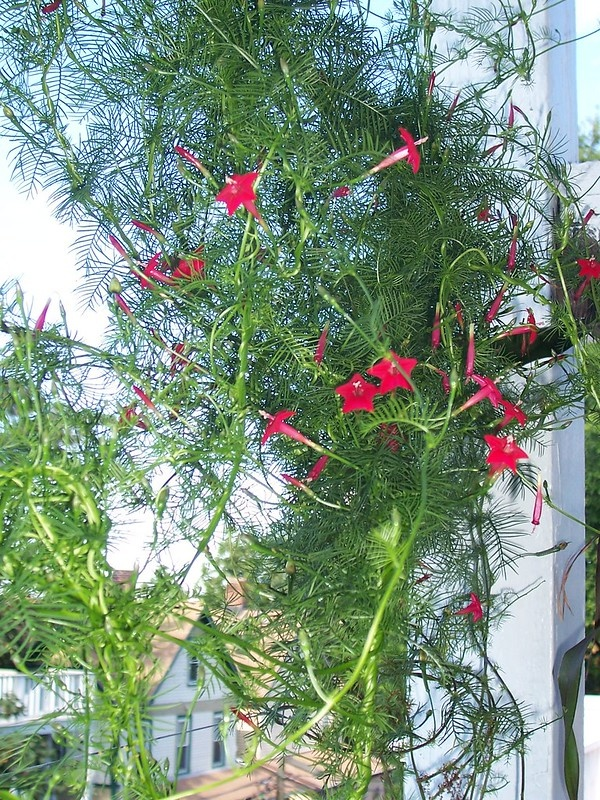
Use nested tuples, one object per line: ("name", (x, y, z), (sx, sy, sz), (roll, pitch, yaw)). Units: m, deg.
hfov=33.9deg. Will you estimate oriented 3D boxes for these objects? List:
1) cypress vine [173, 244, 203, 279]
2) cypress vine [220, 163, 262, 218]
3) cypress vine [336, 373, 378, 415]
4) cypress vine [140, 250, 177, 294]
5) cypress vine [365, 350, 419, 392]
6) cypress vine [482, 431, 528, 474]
("cypress vine", (-0.092, -0.113, 0.818), (0.025, 0.031, 0.012), (16, 10, 6))
("cypress vine", (-0.043, -0.151, 0.719), (0.035, 0.034, 0.030), (19, -3, 21))
("cypress vine", (0.045, -0.004, 0.763), (0.031, 0.031, 0.016), (-29, 1, 12))
("cypress vine", (-0.118, -0.105, 0.809), (0.036, 0.034, 0.010), (35, 13, 35))
("cypress vine", (0.065, -0.021, 0.704), (0.030, 0.031, 0.015), (33, 12, 9))
("cypress vine", (0.163, 0.049, 0.842), (0.035, 0.039, 0.046), (-30, -9, -2))
